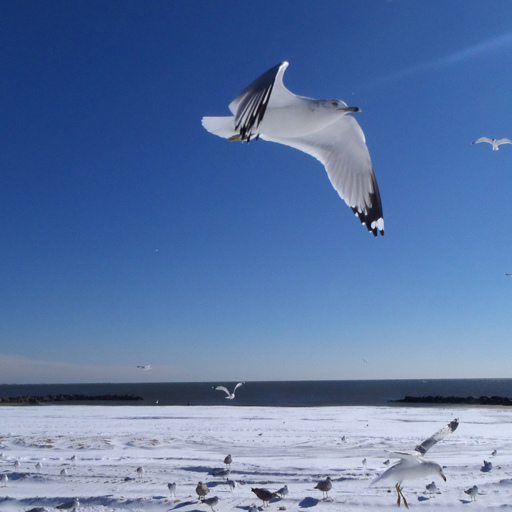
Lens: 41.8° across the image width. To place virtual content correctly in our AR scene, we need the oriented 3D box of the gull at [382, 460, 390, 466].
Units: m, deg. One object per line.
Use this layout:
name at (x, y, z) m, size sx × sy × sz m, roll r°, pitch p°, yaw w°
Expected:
gull at (3.163, 5.006, 16.251) m, size 0.136 × 0.155 × 0.089 m, roll 23°, pitch 3°, yaw 15°

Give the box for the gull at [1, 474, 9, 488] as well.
gull at (-5.485, 4.892, 14.560) m, size 0.117 × 0.252 × 0.241 m, roll 8°, pitch -16°, yaw -25°

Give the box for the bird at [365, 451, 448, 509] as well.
bird at (2.989, 4.511, 13.319) m, size 0.947 × 0.711 × 1.606 m, roll 14°, pitch -3°, yaw 24°

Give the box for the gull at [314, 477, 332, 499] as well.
gull at (1.405, 4.743, 13.719) m, size 0.329 × 0.421 × 0.405 m, roll 5°, pitch -15°, yaw -14°

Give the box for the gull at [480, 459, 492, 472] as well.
gull at (5.439, 4.997, 15.808) m, size 0.186 × 0.294 × 0.158 m, roll 23°, pitch -4°, yaw -5°

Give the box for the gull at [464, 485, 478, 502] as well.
gull at (4.425, 4.873, 13.750) m, size 0.236 × 0.299 × 0.259 m, roll -3°, pitch -15°, yaw 14°

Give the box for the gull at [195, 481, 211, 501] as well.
gull at (-1.072, 4.823, 13.776) m, size 0.169 × 0.262 × 0.381 m, roll -8°, pitch -29°, yaw 2°

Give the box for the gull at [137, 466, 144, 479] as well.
gull at (-2.623, 4.889, 15.134) m, size 0.151 × 0.241 × 0.442 m, roll 4°, pitch -16°, yaw -9°

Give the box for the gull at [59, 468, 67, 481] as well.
gull at (-4.369, 4.932, 15.127) m, size 0.153 × 0.232 × 0.541 m, roll 5°, pitch -16°, yaw -15°

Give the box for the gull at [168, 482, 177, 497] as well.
gull at (-1.756, 4.860, 13.940) m, size 0.170 × 0.255 × 0.415 m, roll 3°, pitch -15°, yaw -7°

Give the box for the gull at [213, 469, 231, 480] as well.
gull at (-0.767, 4.860, 14.962) m, size 0.349 × 0.200 × 0.512 m, roll 2°, pitch -16°, yaw -3°

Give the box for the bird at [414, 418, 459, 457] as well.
bird at (3.245, 3.233, 11.947) m, size 0.705 × 0.630 × 1.747 m, roll -4°, pitch -17°, yaw 18°

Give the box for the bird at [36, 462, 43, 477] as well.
bird at (-5.038, 4.899, 15.389) m, size 0.147 × 0.325 × 0.372 m, roll 2°, pitch -18°, yaw -16°

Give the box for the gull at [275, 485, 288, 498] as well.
gull at (0.531, 4.825, 13.803) m, size 0.135 × 0.228 × 0.256 m, roll -14°, pitch -33°, yaw 36°

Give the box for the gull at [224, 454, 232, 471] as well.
gull at (-0.661, 4.855, 15.885) m, size 0.120 × 0.269 × 0.185 m, roll 0°, pitch 10°, yaw -15°
